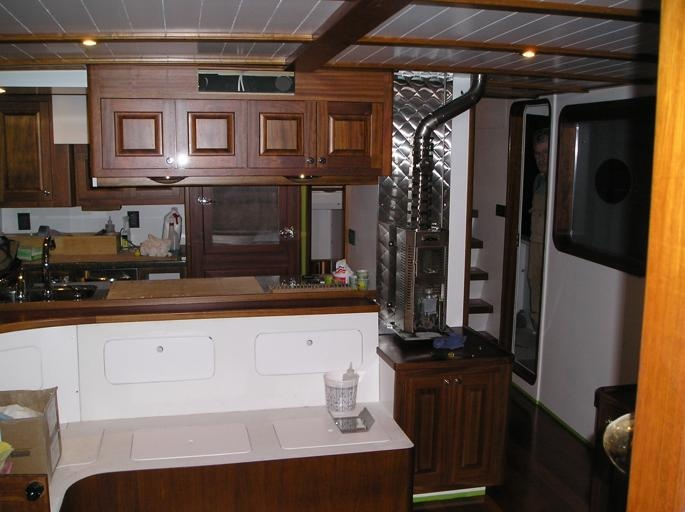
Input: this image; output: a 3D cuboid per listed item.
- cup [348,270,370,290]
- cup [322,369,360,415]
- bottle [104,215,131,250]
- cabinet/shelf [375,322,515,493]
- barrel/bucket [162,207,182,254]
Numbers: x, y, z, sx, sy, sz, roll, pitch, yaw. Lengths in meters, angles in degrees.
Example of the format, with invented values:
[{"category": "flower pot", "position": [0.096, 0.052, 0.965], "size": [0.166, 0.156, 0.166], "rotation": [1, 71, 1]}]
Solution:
[{"category": "cup", "position": [0.109, 0.159, 3.582], "size": [0.134, 0.118, 0.131], "rotation": [2, 10, 0]}, {"category": "cup", "position": [-0.009, 0.796, 3.266], "size": [0.254, 0.242, 0.207], "rotation": [0, 2, -6]}, {"category": "bottle", "position": [-2.329, -0.237, 5.653], "size": [0.253, 0.318, 0.360], "rotation": [-3, 11, -22]}, {"category": "cabinet/shelf", "position": [0.622, 0.910, 3.611], "size": [1.042, 1.173, 0.797], "rotation": [-3, 9, -10]}, {"category": "barrel/bucket", "position": [-1.782, -0.271, 5.700], "size": [0.196, 0.430, 0.427], "rotation": [-1, 11, -16]}]
